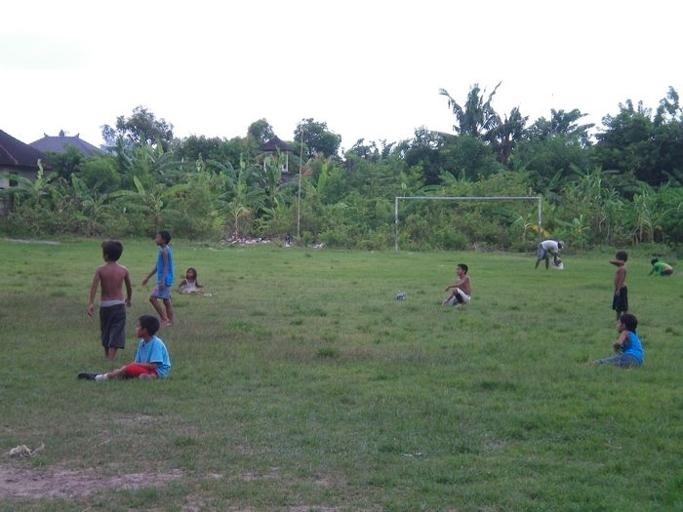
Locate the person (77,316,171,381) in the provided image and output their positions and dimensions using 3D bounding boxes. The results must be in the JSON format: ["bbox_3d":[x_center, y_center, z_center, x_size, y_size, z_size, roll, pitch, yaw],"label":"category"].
[{"bbox_3d":[-3.742,1.633,15.942,1.522,1.112,0.757,-2,0,-25],"label":"person"}]

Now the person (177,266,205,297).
[{"bbox_3d":[-3.590,0.706,23.273,0.995,0.852,0.596,1,-6,-28],"label":"person"}]

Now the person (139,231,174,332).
[{"bbox_3d":[-3.702,0.473,18.798,0.617,2.019,0.624,0,-2,-5],"label":"person"}]

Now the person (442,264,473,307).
[{"bbox_3d":[2.790,0.712,22.193,0.937,1.306,0.931,0,-5,-4],"label":"person"}]

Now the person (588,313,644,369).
[{"bbox_3d":[4.954,1.538,16.784,0.914,1.204,0.988,0,-6,29],"label":"person"}]
